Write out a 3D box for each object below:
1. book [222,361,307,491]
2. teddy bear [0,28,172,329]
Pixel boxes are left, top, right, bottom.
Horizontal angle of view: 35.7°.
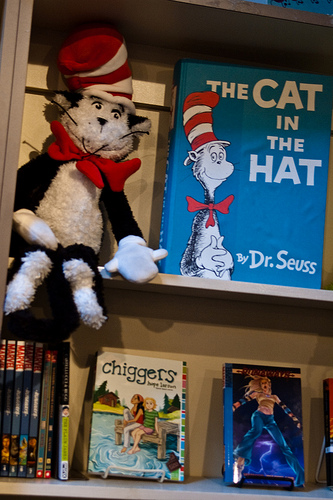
[{"bbox_3d":[0.188,0.336,0.999,0.162,0.214,0.089,6,-12,-4],"label":"book"},{"bbox_3d":[-0.141,-0.145,0.984,0.268,0.585,0.270,9,-13,-15],"label":"teddy bear"}]
